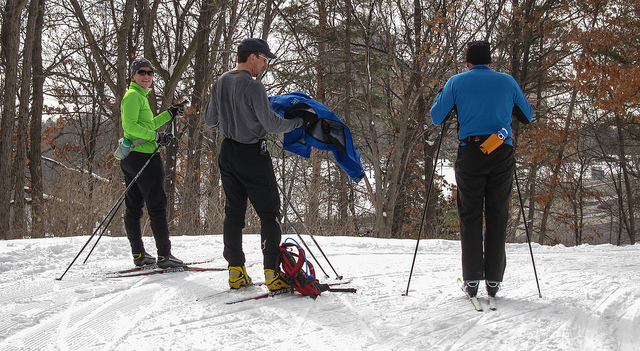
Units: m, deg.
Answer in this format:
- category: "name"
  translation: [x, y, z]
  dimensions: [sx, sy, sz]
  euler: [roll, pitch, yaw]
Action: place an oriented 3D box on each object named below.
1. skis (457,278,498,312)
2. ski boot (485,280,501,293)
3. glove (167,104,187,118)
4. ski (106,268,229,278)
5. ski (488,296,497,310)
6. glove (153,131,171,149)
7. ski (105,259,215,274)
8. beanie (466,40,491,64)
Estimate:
- category: "skis"
  translation: [3.602, 2.756, 11.663]
  dimensions: [0.306, 0.223, 1.485]
  euler: [-11, 27, -5]
- category: "ski boot"
  translation: [3.979, 2.536, 11.742]
  dimensions: [0.411, 0.321, 0.303]
  euler: [0, -5, -7]
- category: "glove"
  translation: [-3.745, -1.699, 13.344]
  dimensions: [0.418, 0.346, 0.230]
  euler: [-1, -5, 9]
- category: "ski"
  translation: [-3.819, 2.426, 12.777]
  dimensions: [2.242, 0.153, 0.270]
  euler: [1, -8, -9]
- category: "ski"
  translation: [3.881, 2.844, 11.468]
  dimensions: [0.165, 0.256, 0.244]
  euler: [-2, -6, 16]
- category: "glove"
  translation: [-4.096, -0.973, 13.171]
  dimensions: [0.162, 0.351, 0.421]
  euler: [-5, -7, 39]
- category: "ski"
  translation: [-4.109, 2.326, 13.080]
  dimensions: [2.381, 0.166, 0.271]
  euler: [-1, 35, -19]
- category: "beanie"
  translation: [3.657, -2.851, 11.841]
  dimensions: [0.551, 0.488, 0.534]
  euler: [-9, 11, -38]
